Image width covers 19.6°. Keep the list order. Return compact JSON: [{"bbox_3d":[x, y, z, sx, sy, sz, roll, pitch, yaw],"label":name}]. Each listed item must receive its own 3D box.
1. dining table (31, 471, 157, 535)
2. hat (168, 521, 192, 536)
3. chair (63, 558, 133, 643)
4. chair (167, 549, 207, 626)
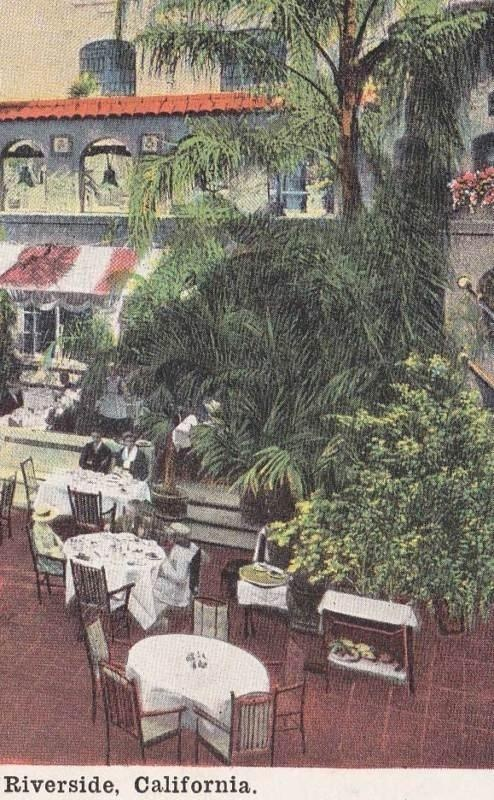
[{"bbox_3d":[-1.068,0.622,9.701,0.510,0.232,0.513,2,48,8],"label":"dining table"},{"bbox_3d":[-0.448,0.840,9.532,0.093,0.059,0.089,21,18,15],"label":"hat"},{"bbox_3d":[-0.881,1.309,9.197,0.251,0.546,0.297,-9,-12,11],"label":"chair"},{"bbox_3d":[-0.386,1.260,9.466,0.235,0.598,0.288,1,-13,-25],"label":"chair"}]
